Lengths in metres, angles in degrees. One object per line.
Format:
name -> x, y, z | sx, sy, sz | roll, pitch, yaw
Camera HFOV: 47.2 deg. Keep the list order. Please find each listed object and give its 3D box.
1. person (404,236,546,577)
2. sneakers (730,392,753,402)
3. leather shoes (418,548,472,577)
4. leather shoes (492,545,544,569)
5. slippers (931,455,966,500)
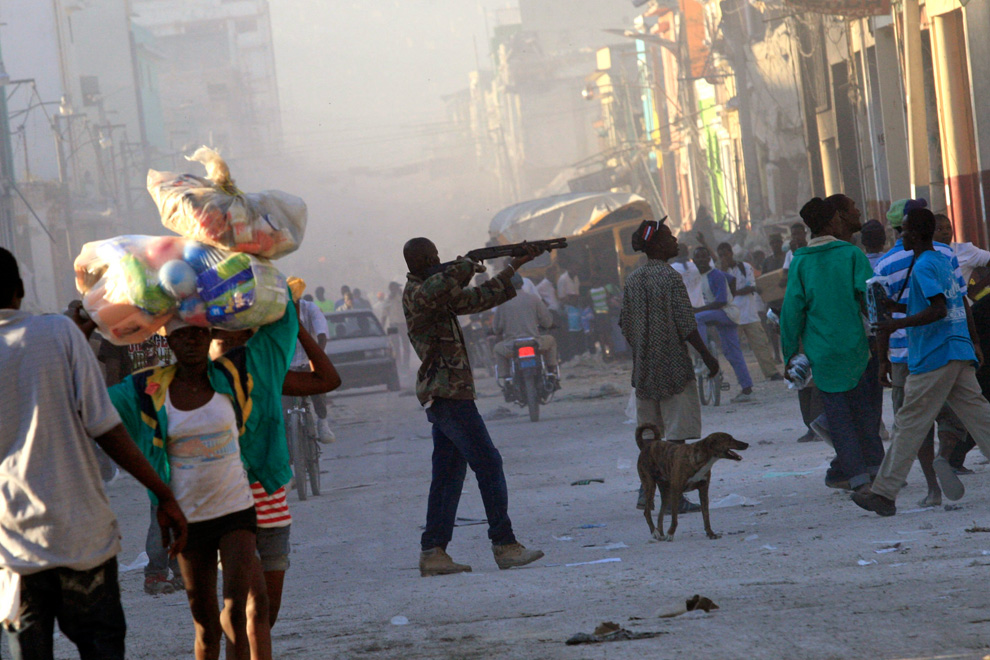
person -> -0.222, 0.515, 8.028 | 0.963, 2.364, 0.725 | -9, 8, -2
sneakers -> 3.265, 0.897, 14.893 | 0.338, 0.137, 0.112 | -2, 18, 6
leather shoes -> -0.387, 1.606, 7.951 | 0.417, 0.194, 0.145 | -4, 8, -16
leather shoes -> 0.148, 1.555, 7.937 | 0.409, 0.191, 0.139 | -6, 8, 4
slippers -> 3.286, 1.087, 8.269 | 0.169, 0.365, 0.145 | -33, -12, 13
